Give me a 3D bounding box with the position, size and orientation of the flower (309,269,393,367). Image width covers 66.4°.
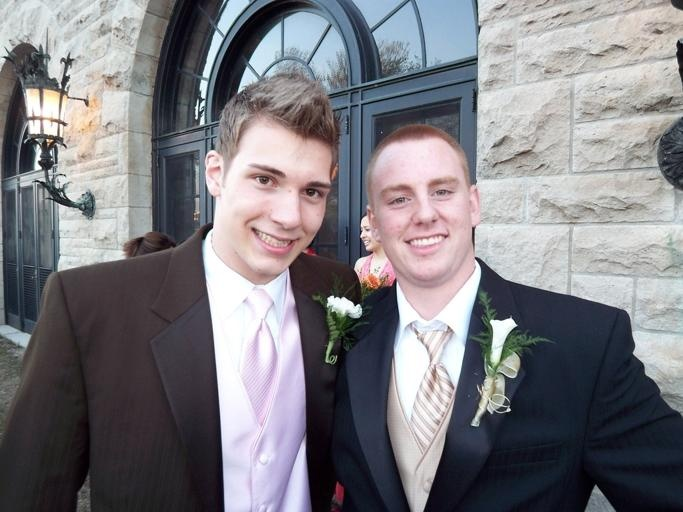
[{"bbox_3d":[0.076,0.367,3.439,0.411,0.272,0.586,-7,41,36],"label":"flower"}]
